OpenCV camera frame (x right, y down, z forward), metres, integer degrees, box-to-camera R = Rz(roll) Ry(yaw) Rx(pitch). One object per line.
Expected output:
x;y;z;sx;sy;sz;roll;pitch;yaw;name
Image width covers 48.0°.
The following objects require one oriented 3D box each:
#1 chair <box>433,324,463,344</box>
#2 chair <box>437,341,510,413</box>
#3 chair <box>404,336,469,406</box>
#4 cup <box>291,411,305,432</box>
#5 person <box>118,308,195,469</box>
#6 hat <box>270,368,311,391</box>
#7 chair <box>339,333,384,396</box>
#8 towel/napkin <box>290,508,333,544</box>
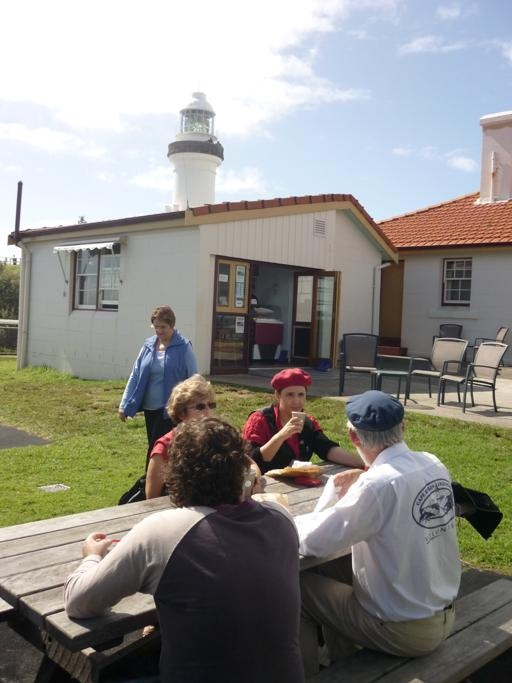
4.473;-0.185;13.265;0.558;0.741;0.578;3;4;26;chair
3.478;0.526;9.222;0.904;1.044;2.634;1;5;20;chair
3.036;0.468;9.520;0.821;0.991;0.730;2;2;-35;chair
0.207;0.394;2.788;0.094;0.103;0.083;1;-6;-9;cup
-0.767;0.504;4.742;0.697;1.551;0.492;-1;-2;15;person
0.189;0.213;3.091;0.196;0.134;0.224;0;4;1;hat
1.967;0.426;10.533;0.937;1.046;0.913;4;-5;-18;chair
0.213;0.622;1.983;0.040;0.154;0.161;36;-36;-26;towel/napkin
